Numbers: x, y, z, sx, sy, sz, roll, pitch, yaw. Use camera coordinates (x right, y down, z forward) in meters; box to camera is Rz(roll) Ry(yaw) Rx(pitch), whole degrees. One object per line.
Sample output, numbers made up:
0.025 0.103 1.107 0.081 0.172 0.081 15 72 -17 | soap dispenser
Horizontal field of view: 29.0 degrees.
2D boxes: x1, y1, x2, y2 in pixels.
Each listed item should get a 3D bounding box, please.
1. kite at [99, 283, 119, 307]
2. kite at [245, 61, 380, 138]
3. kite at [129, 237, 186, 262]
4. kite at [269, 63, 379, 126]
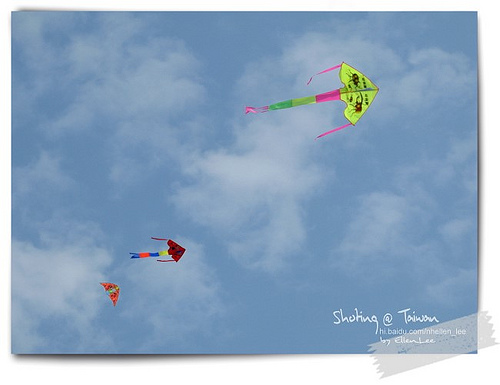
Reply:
-1.226 0.885 8.588 0.117 0.139 0.191 -35 -58 17 | kite
0.552 -0.802 8.476 1.169 0.143 0.581 -12 -90 5 | kite
-0.738 0.529 8.431 0.401 0.400 0.102 -8 -89 -42 | kite
0.768 -0.812 8.651 0.725 0.337 0.414 -28 -56 13 | kite
